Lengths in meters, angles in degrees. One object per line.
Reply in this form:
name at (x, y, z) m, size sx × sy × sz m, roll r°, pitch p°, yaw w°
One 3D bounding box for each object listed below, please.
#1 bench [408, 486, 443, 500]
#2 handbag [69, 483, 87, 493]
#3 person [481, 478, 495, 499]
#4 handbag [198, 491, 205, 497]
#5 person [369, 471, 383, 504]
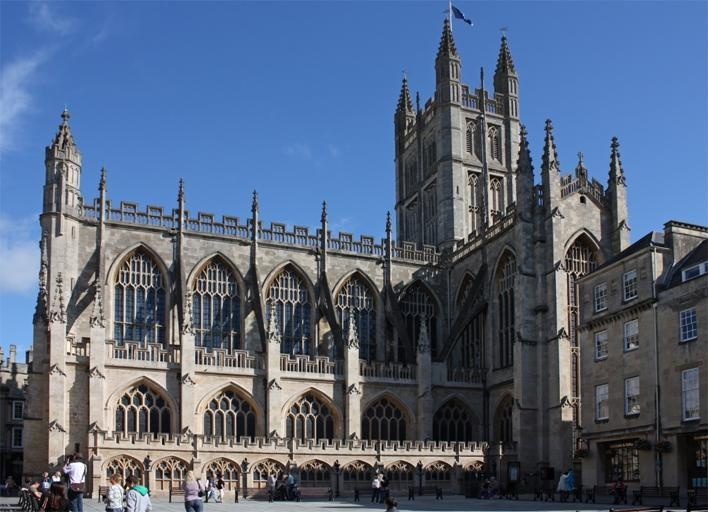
bench at (4.567, 15.107, 100.980) m, size 1.146 × 0.538 × 1.200 m, roll 2°, pitch -28°, yaw -5°
handbag at (-14.005, 11.877, 81.471) m, size 0.762 × 0.655 × 1.015 m, roll 6°, pitch -20°, yaw -14°
person at (8.460, 14.740, 100.763) m, size 0.829 × 1.518 × 1.514 m, roll -1°, pitch -19°, yaw 6°
handbag at (-7.657, 12.067, 80.399) m, size 0.082 × 0.332 × 0.326 m, roll 1°, pitch -6°, yaw 18°
person at (1.443, 14.149, 97.074) m, size 0.645 × 2.036 × 1.326 m, roll 1°, pitch -19°, yaw 0°
